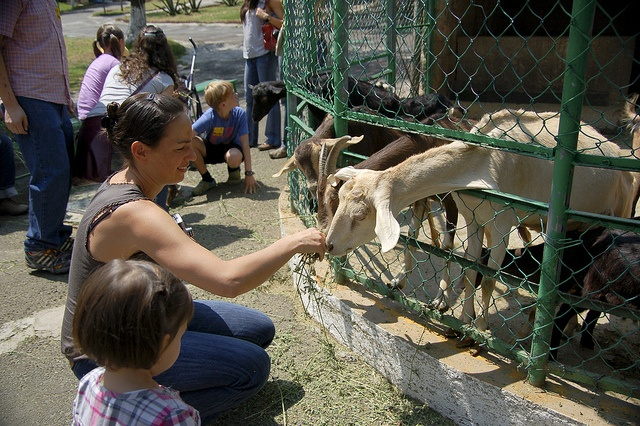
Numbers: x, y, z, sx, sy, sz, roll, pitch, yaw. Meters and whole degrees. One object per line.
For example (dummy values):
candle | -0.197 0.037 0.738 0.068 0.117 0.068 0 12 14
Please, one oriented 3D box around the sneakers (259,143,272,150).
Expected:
sneakers | -0.873 -1.045 8.469 0.248 0.107 0.089 -4 2 -43

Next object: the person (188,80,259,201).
person | -1.389 -1.011 7.192 0.870 1.417 0.888 -15 25 -35

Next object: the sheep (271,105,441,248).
sheep | 0.622 -0.467 5.383 1.081 0.963 0.584 3 14 0

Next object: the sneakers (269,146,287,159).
sneakers | -0.637 -0.906 8.136 0.347 0.150 0.123 -13 11 -41
